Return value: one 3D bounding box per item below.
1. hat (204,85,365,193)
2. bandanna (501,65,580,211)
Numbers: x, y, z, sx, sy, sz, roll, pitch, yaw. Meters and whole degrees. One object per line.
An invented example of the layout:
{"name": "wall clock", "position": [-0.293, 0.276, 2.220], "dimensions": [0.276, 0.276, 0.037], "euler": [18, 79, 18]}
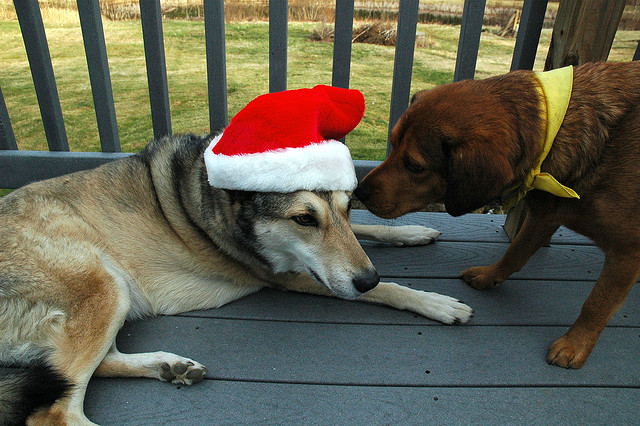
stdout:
{"name": "hat", "position": [-0.208, -0.488, 3.590], "dimensions": [0.899, 0.521, 0.629], "euler": [-6, 13, -23]}
{"name": "bandanna", "position": [1.402, -0.465, 3.486], "dimensions": [0.397, 0.691, 0.598], "euler": [7, 36, 12]}
